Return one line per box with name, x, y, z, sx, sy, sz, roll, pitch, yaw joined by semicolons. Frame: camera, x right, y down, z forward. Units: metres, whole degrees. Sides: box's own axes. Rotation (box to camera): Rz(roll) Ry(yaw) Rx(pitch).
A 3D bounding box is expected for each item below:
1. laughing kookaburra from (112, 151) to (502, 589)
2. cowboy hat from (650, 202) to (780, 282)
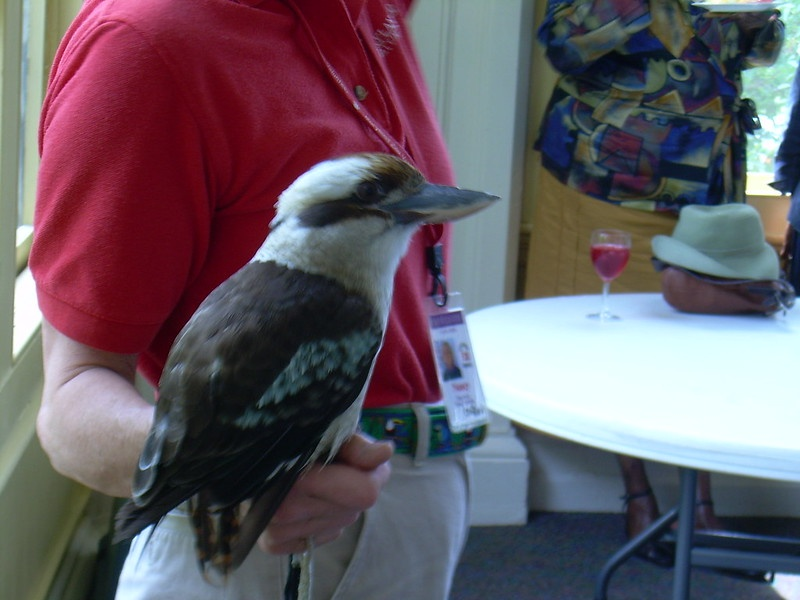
laughing kookaburra;-0.129;0.025;0.961;0.419;0.420;0.352;16;15;33
cowboy hat;0.732;-0.141;1.993;0.251;0.205;0.243;8;18;5
